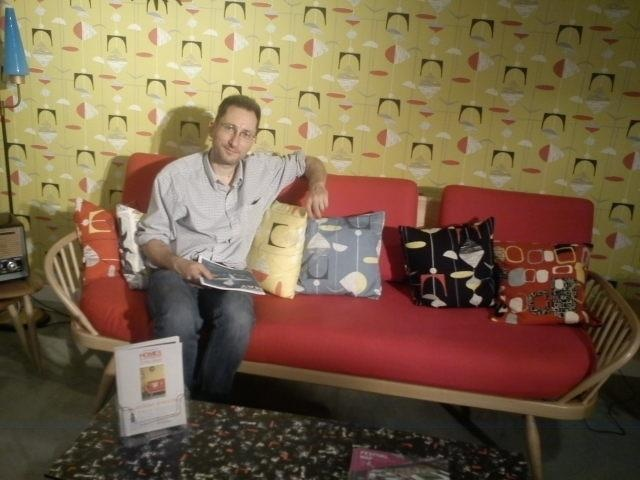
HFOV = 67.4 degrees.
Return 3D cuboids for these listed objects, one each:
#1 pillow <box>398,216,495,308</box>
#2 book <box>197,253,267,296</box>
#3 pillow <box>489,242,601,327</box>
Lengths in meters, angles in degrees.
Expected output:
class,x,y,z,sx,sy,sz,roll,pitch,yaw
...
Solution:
class,x,y,z,sx,sy,sz,roll,pitch,yaw
pillow,0.688,0.135,2.467,0.503,0.409,0.245,-6,25,30
book,-0.421,0.166,2.204,0.272,0.143,0.318,1,9,-15
pillow,1.080,0.223,2.400,0.541,0.390,0.174,0,-1,-7
